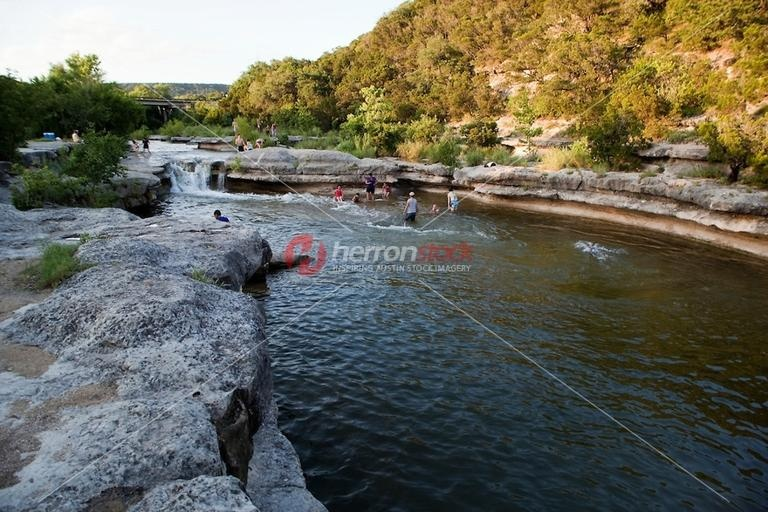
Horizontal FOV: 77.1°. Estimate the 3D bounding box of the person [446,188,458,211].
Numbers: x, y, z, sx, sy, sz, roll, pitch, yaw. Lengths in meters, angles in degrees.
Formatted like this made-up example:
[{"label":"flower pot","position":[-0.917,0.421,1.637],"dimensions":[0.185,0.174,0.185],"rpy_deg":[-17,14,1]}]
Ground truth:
[{"label":"person","position":[3.749,-3.027,26.002],"dimensions":[0.516,1.155,1.212],"rpy_deg":[3,16,3]}]
